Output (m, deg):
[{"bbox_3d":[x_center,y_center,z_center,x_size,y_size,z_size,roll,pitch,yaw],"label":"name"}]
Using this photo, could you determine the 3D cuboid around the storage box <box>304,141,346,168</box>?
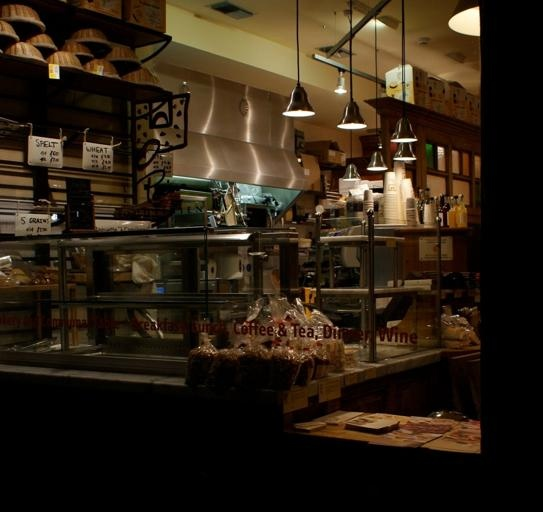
[{"bbox_3d":[0.934,-1.707,9.409,0.481,0.310,0.489,0,1,36],"label":"storage box"}]
